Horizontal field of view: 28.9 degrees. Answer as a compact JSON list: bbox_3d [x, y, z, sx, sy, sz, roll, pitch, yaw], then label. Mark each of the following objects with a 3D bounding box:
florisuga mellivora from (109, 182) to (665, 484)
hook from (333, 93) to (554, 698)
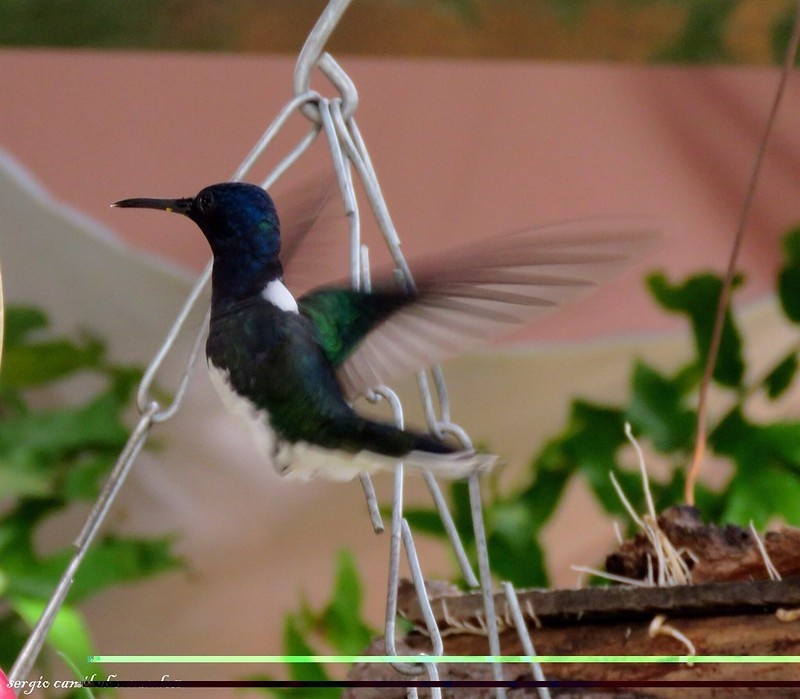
[{"bbox_3d":[-0.032,0.001,1.020,0.313,0.185,0.227,11,-5,13],"label":"florisuga mellivora"},{"bbox_3d":[0.001,0.029,1.021,0.108,0.463,0.046,1,-20,-37],"label":"hook"}]
